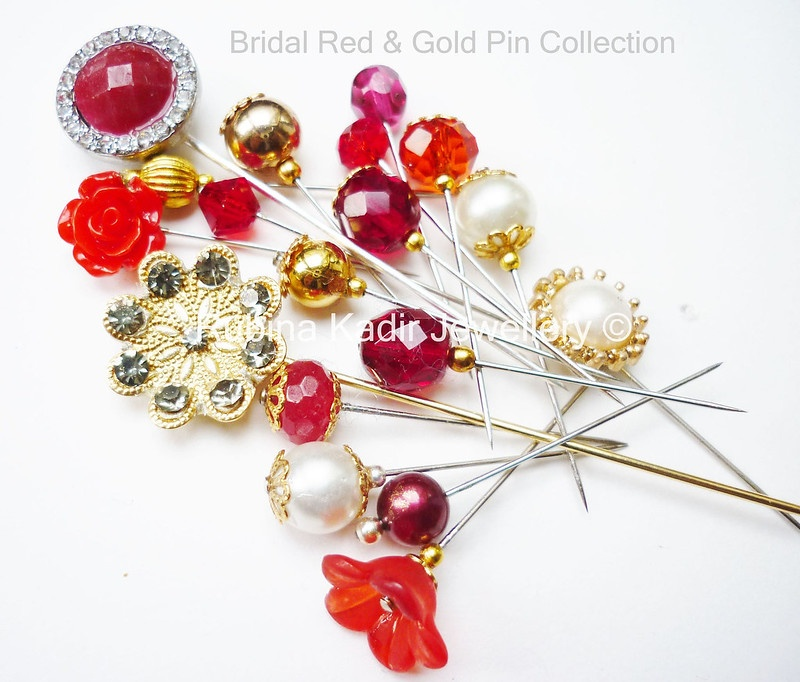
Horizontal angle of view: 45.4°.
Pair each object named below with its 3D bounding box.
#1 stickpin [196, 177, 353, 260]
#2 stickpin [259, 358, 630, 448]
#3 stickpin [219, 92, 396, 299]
[{"bbox_3d":[-0.351,-0.308,2.551,0.371,0.176,0.177,27,-103,-9],"label":"stickpin"},{"bbox_3d":[0.015,0.128,2.281,0.630,0.220,0.172,8,-79,4],"label":"stickpin"},{"bbox_3d":[-0.243,-0.365,2.509,0.163,0.153,0.597,-40,-80,4],"label":"stickpin"}]
